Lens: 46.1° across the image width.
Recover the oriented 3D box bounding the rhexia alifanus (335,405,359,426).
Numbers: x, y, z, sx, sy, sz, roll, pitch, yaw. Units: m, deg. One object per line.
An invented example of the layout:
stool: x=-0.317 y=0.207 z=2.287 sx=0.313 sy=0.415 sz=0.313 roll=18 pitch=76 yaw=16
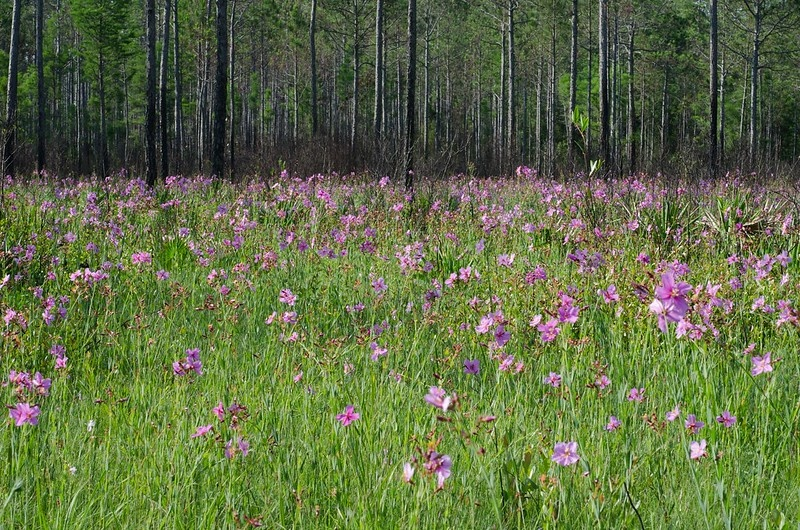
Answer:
rhexia alifanus: x=-1.340 y=3.992 z=24.659 sx=0.600 sy=0.690 sz=0.512 roll=1 pitch=9 yaw=-6

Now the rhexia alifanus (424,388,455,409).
rhexia alifanus: x=1.048 y=3.436 z=24.168 sx=0.765 sy=0.626 sz=0.499 roll=2 pitch=9 yaw=1

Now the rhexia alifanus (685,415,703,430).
rhexia alifanus: x=7.768 y=4.154 z=24.707 sx=0.495 sy=0.455 sz=0.209 roll=1 pitch=8 yaw=-7

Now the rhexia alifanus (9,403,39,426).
rhexia alifanus: x=-9.844 y=3.977 z=24.623 sx=0.800 sy=0.699 sz=0.370 roll=4 pitch=9 yaw=10
